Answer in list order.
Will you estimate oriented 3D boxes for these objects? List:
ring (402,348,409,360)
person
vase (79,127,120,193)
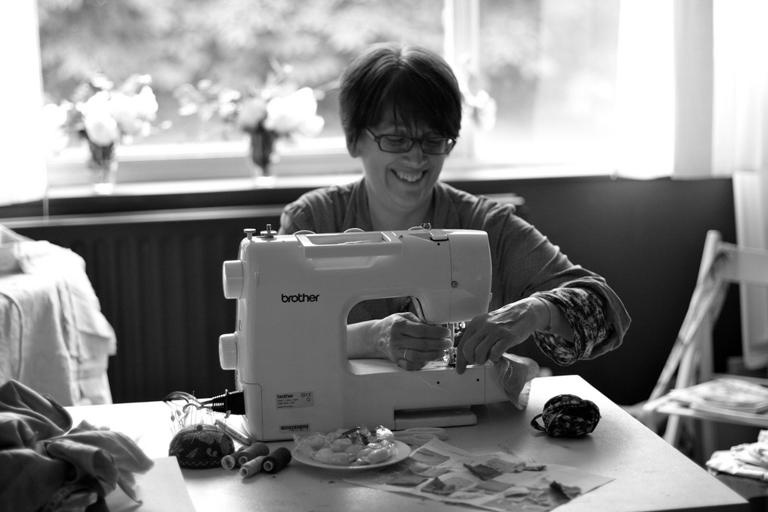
[{"bbox_3d":[0.059,0.267,2.088,0.019,0.036,0.025,1,2,-2],"label":"ring"},{"bbox_3d":[0.219,-0.156,2.631,1.024,1.056,1.066,-2,-1,-26],"label":"person"},{"bbox_3d":[-1.252,-0.417,3.384,0.146,0.286,0.103,-8,8,-20],"label":"vase"}]
